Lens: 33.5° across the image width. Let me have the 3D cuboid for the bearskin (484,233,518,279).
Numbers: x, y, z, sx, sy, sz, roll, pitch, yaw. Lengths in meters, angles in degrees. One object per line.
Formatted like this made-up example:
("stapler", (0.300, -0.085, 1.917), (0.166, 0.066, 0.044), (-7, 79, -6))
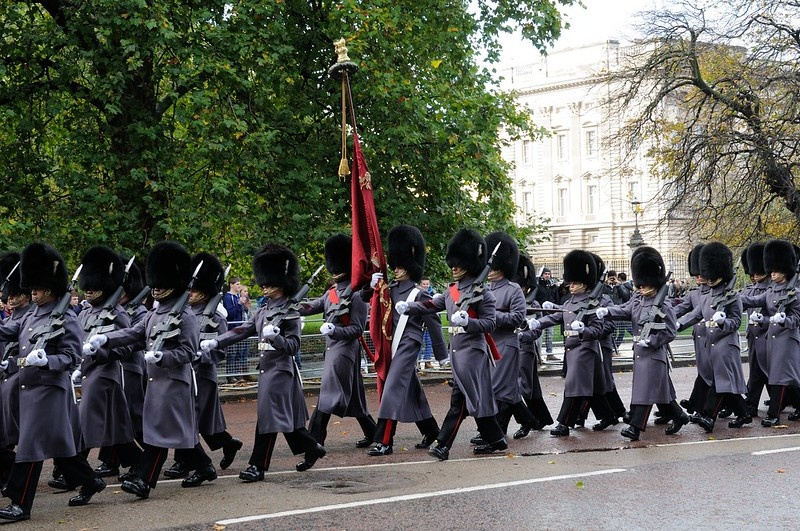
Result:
("bearskin", (1.703, -0.207, 21.897), (0.619, 0.629, 0.799), (15, -28, 11))

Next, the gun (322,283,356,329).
("gun", (-0.949, 0.654, 20.809), (0.378, 0.767, 0.128), (-6, -56, 44))

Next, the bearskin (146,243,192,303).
("bearskin", (-3.406, 0.100, 19.547), (0.740, 0.829, 0.333), (5, -12, -16))

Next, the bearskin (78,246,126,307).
("bearskin", (-4.494, 0.152, 19.845), (0.757, 0.806, 0.357), (16, -1, -12))

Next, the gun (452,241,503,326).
("gun", (1.168, 0.310, 20.745), (0.528, 0.190, 1.859), (23, 44, 21))

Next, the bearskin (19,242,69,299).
("bearskin", (-5.326, 0.069, 19.570), (0.858, 0.767, 1.078), (-4, -5, -9))

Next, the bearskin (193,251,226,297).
("bearskin", (-2.910, 0.147, 20.185), (0.559, 0.622, 0.215), (2, 6, -25))
